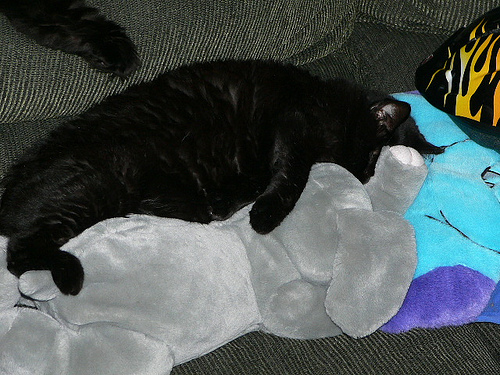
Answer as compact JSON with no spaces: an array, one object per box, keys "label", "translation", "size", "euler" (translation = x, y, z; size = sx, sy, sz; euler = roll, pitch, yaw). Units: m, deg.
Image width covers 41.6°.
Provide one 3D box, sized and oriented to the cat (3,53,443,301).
[{"label":"cat","translation":[-0.068,0.016,2.098],"size":[1.247,0.409,0.656],"euler":[-9,38,-11]}]
